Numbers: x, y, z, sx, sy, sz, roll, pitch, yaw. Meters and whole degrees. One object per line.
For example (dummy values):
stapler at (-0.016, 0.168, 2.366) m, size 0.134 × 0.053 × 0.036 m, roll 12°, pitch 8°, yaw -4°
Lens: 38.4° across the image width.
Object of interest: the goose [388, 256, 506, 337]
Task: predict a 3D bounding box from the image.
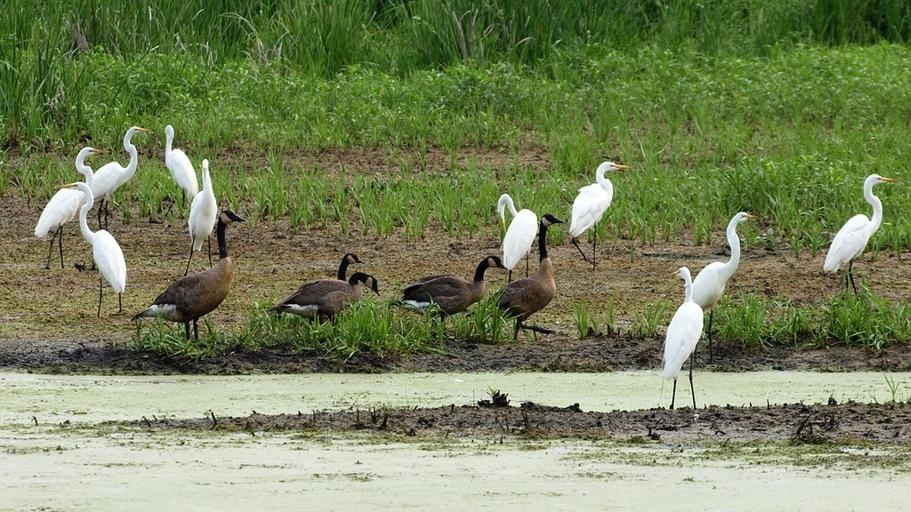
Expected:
goose at (-0.110, 0.504, 19.984) m, size 1.700 × 1.079 × 0.669 m, roll 3°, pitch 4°, yaw -4°

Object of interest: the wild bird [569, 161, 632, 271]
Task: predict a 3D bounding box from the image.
wild bird at (2.368, -0.838, 22.286) m, size 0.813 × 2.192 × 1.248 m, roll 2°, pitch 2°, yaw 30°

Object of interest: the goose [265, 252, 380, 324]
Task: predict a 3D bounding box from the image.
goose at (-1.877, 0.551, 19.703) m, size 1.062 × 0.883 × 1.522 m, roll 4°, pitch 9°, yaw 29°

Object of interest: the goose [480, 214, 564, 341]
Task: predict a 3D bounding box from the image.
goose at (0.668, 0.411, 20.865) m, size 1.945 × 2.553 × 0.948 m, roll -3°, pitch 1°, yaw -2°
